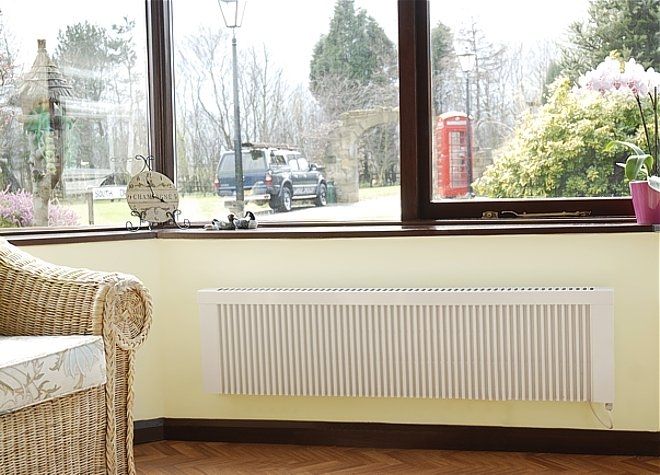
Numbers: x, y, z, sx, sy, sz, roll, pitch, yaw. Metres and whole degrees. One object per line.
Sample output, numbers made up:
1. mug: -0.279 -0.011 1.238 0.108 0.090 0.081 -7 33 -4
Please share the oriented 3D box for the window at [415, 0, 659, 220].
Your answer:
1. window: 1.069 -0.658 3.232 1.024 1.236 0.053 0 3 5
